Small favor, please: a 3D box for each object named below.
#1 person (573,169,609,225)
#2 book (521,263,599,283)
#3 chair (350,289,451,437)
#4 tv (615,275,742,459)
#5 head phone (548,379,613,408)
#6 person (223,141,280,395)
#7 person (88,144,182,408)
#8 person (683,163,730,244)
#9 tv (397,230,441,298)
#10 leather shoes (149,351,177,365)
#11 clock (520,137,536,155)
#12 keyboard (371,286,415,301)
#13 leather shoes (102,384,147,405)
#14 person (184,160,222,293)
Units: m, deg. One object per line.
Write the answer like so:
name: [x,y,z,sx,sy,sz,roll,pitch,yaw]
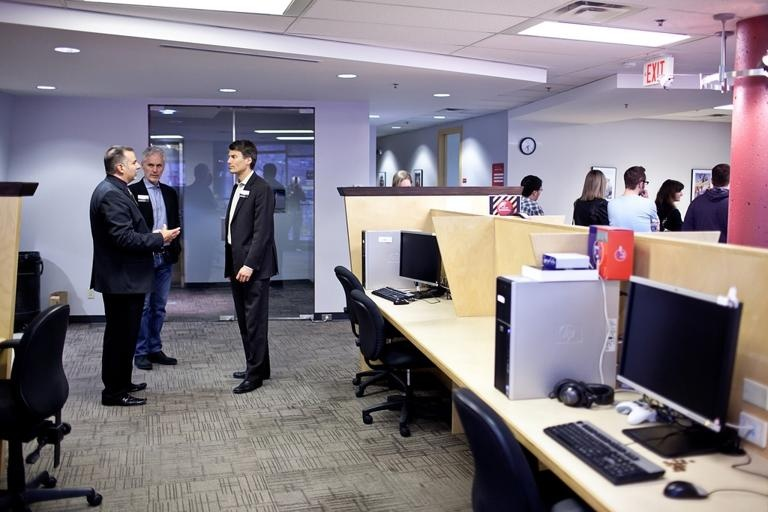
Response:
person: [2.236,-0.621,5.651,0.346,0.608,0.724,4,10,19]
book: [0.855,0.091,2.562,0.366,0.057,0.167,4,10,20]
chair: [0.199,0.770,4.538,0.978,1.340,1.105,-2,4,-11]
tv: [1.212,0.461,2.239,0.319,0.670,0.501,-4,11,-26]
head phone: [0.961,0.641,2.522,0.181,0.076,0.150,-2,3,-12]
person: [-1.190,0.099,4.566,0.430,2.171,0.446,-9,14,-43]
person: [-2.051,0.193,4.173,0.419,2.072,0.428,8,12,36]
person: [3.234,-0.543,5.247,0.366,0.752,0.595,6,11,29]
tv: [0.304,0.063,4.592,0.221,0.546,0.551,1,-6,-39]
leather shoes: [-2.184,1.028,5.263,0.330,0.131,0.109,2,0,-6]
clock: [2.260,-1.744,8.308,0.320,0.282,0.067,-4,11,-26]
keyboard: [0.069,0.334,4.530,0.146,0.033,0.244,1,12,-29]
leather shoes: [-2.152,1.153,4.308,0.198,0.059,0.194,-2,5,-14]
person: [-2.367,-0.413,6.783,0.466,1.553,0.168,-3,11,-20]
